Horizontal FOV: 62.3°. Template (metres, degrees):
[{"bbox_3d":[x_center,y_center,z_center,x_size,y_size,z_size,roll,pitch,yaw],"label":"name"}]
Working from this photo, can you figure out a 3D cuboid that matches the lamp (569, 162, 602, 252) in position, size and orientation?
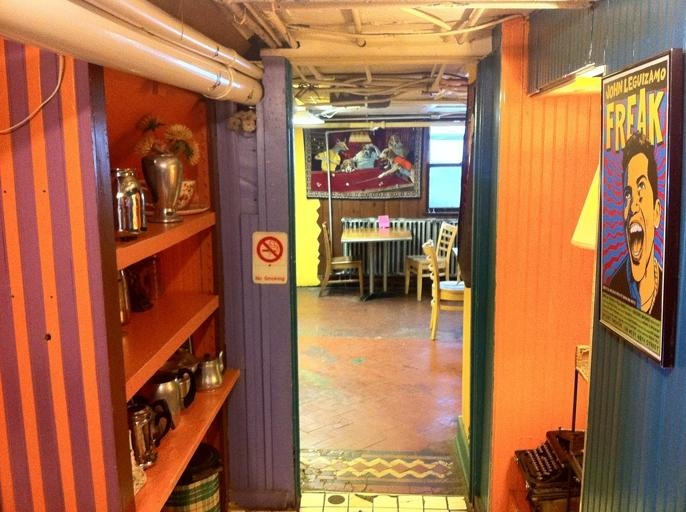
[{"bbox_3d":[0.946,-0.187,2.228,0.086,0.348,0.244,4,13,22],"label":"lamp"}]

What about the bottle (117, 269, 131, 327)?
[{"bbox_3d":[-1.005,0.190,2.638,0.034,0.272,0.144,-5,12,-20],"label":"bottle"}]

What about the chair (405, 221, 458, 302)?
[{"bbox_3d":[1.291,0.067,8.443,0.772,1.129,0.809,7,10,27],"label":"chair"}]

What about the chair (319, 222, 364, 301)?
[{"bbox_3d":[-0.008,0.021,8.703,0.839,1.079,0.792,-5,4,-35],"label":"chair"}]

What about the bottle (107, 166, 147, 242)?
[{"bbox_3d":[-0.895,-0.227,2.375,0.131,0.270,0.166,9,15,41],"label":"bottle"}]

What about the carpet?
[{"bbox_3d":[0.259,1.533,4.045,1.145,0.026,0.495,0,12,4],"label":"carpet"}]

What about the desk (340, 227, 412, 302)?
[{"bbox_3d":[0.519,0.113,8.657,1.002,1.001,1.363,0,12,4],"label":"desk"}]

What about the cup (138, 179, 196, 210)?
[{"bbox_3d":[-0.870,-0.298,2.995,0.183,0.132,0.190,0,2,0],"label":"cup"}]

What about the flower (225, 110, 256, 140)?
[{"bbox_3d":[-0.591,-0.792,3.370,0.173,0.144,0.049,-3,12,-9],"label":"flower"}]

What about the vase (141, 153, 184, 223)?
[{"bbox_3d":[-0.843,-0.327,2.712,0.176,0.328,0.130,-5,12,-18],"label":"vase"}]

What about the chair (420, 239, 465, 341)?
[{"bbox_3d":[1.256,0.397,6.683,0.679,1.033,0.697,0,5,-14],"label":"chair"}]
